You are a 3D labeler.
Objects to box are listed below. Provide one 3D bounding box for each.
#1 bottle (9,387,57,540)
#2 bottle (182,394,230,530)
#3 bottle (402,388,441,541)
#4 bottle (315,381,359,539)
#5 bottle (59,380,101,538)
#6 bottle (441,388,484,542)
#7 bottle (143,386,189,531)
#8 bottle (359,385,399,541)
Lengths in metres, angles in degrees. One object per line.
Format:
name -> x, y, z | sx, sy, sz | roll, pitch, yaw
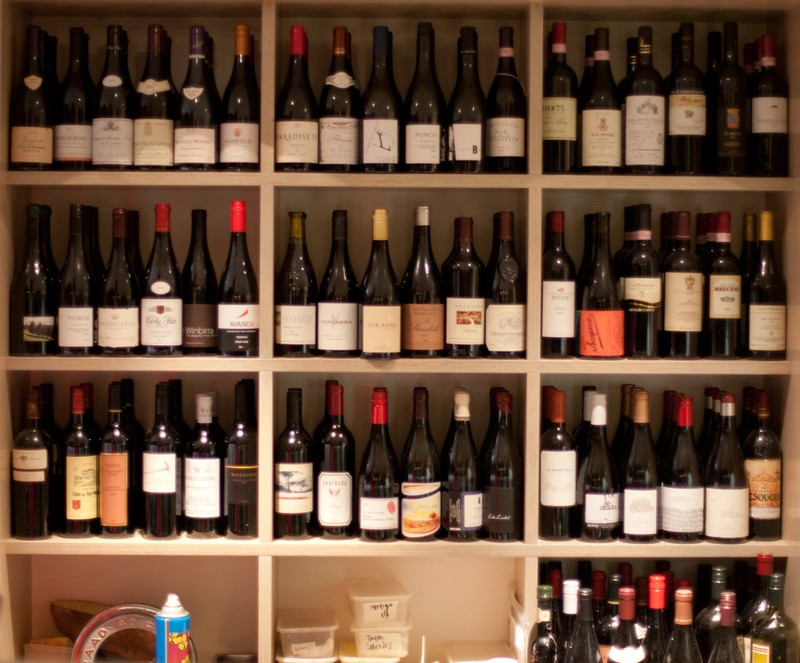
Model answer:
bottle -> -0.947, 0.341, 2.935 | 0.103, 0.373, 0.051 | -2, -2, -10
bottle -> -0.510, 0.344, 2.988 | 0.104, 0.364, 0.166 | -3, -2, 1
bottle -> 0.052, 0.362, 2.972 | 0.110, 0.339, 0.142 | -3, -2, 1
bottle -> -0.170, 0.332, 2.999 | 0.107, 0.396, 0.205 | -2, -2, -3
bottle -> -0.819, 0.332, 2.943 | 0.092, 0.378, 0.066 | -2, -2, -20
bottle -> 0.164, 0.350, 3.014 | 0.101, 0.426, 0.107 | -2, 21, 1
bottle -> -0.604, 0.330, 2.929 | 0.100, 0.393, 0.055 | -2, -2, -16
bottle -> -0.054, 0.387, 2.960 | 0.105, 0.291, 0.116 | -3, -2, 0
